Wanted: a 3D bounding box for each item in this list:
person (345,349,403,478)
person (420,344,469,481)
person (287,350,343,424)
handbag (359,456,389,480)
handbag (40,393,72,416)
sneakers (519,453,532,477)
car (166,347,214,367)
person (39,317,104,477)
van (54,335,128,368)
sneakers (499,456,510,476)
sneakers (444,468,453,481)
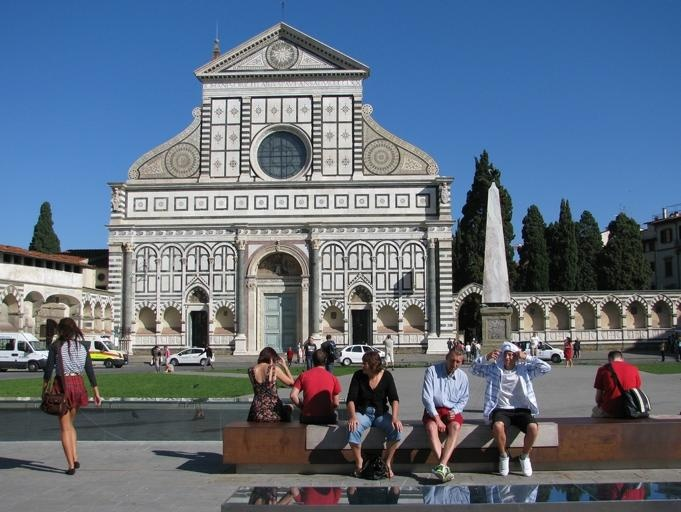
[{"bbox_3d":[0.688,3.344,23.976,1.126,2.596,0.366,0,-6,0],"label":"person"},{"bbox_3d":[2.229,3.307,24.024,0.961,2.823,0.729,1,-6,-7],"label":"person"},{"bbox_3d":[-0.556,2.812,24.447,1.022,1.606,0.444,1,-6,-3],"label":"person"},{"bbox_3d":[0.700,4.439,23.794,0.560,0.470,0.159,0,-5,0],"label":"handbag"},{"bbox_3d":[-6.134,3.189,24.330,0.719,0.687,0.417,1,-10,-5],"label":"handbag"},{"bbox_3d":[3.923,4.404,23.967,0.279,0.467,0.299,-1,-6,10],"label":"sneakers"},{"bbox_3d":[-6.925,4.595,53.239,1.815,0.811,1.054,3,-8,1],"label":"car"},{"bbox_3d":[-5.888,2.997,24.416,1.125,3.335,0.489,2,-6,-13],"label":"person"},{"bbox_3d":[-11.502,4.323,52.312,3.060,1.499,1.288,0,0,19],"label":"van"},{"bbox_3d":[3.467,4.412,23.976,0.215,0.416,0.166,0,-6,-2],"label":"sneakers"},{"bbox_3d":[2.279,4.546,23.689,0.132,0.269,0.346,-1,-6,13],"label":"sneakers"}]
